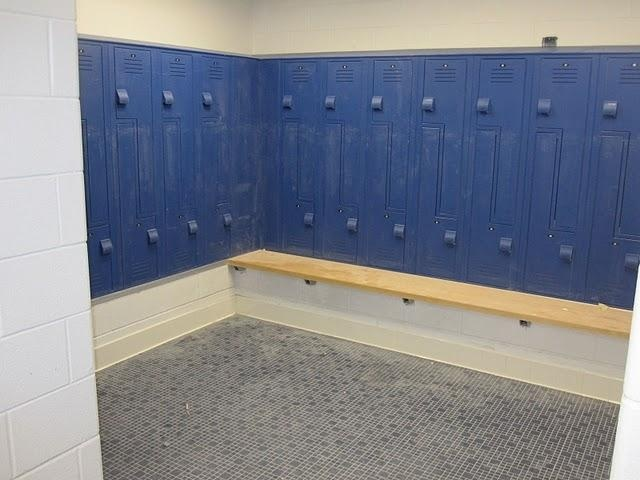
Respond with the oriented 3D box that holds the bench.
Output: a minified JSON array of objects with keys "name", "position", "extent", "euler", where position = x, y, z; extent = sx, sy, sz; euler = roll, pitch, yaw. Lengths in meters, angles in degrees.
[{"name":"bench","position":[1.101,0.496,4.703],"extent":[3.312,0.134,0.483],"euler":[8,20,26]}]
